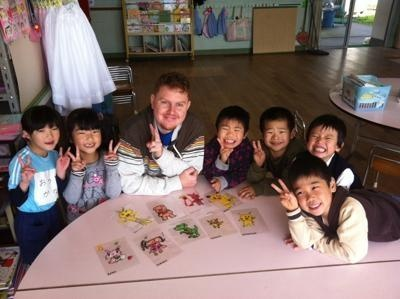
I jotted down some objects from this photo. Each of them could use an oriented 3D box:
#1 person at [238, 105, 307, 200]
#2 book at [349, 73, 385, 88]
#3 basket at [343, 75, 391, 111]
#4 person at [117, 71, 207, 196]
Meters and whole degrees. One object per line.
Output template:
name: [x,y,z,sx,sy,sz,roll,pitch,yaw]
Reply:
person: [0.554,0.035,2.099,0.423,0.638,0.722,1,15,39]
book: [1.706,-0.697,2.867,0.242,0.061,0.256,2,32,-8]
basket: [1.662,-0.543,2.904,0.358,0.337,0.456,3,24,3]
person: [-0.257,-0.019,1.905,0.617,0.826,0.527,-11,40,-28]
